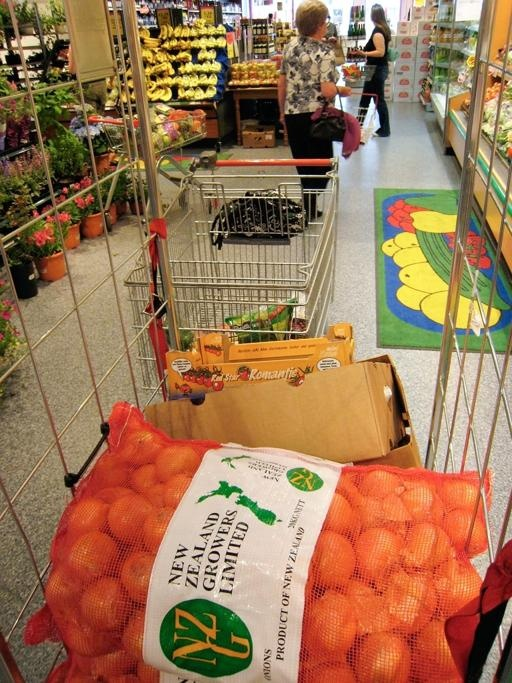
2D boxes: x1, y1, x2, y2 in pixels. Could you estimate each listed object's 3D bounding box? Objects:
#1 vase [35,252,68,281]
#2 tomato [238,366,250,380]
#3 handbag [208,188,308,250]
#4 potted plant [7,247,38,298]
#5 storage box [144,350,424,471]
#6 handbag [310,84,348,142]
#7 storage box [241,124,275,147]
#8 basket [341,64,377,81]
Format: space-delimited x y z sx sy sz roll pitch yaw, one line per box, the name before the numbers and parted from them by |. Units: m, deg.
vase | -1.701 -0.615 3.863 0.216 0.241 0.105 -21 35 -27
tomato | -0.030 0.081 1.197 0.031 0.035 0.021 8 2 -9
handbag | 0.014 -0.849 3.148 0.623 0.312 0.392 3 21 19
potted plant | -1.813 -0.553 3.620 0.168 0.365 0.362 -16 33 -21
storage box | 0.079 0.179 1.197 0.491 0.308 0.207 -4 73 6
handbag | 0.670 -2.052 4.192 0.352 0.444 0.188 8 20 -11
storage box | 0.036 -3.547 8.024 0.583 0.338 0.417 -4 31 -1
basket | 1.805 -4.719 8.123 0.351 0.265 0.559 5 30 11
